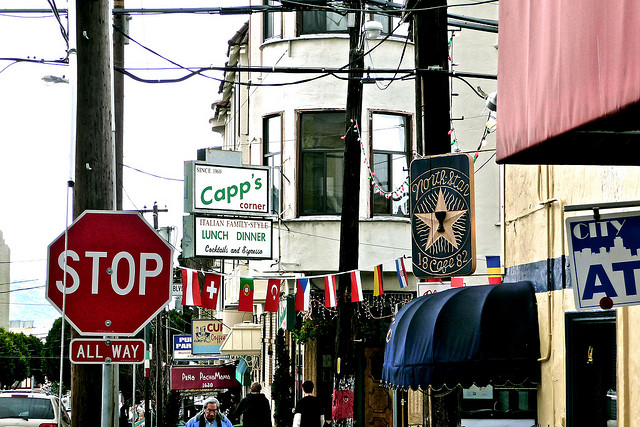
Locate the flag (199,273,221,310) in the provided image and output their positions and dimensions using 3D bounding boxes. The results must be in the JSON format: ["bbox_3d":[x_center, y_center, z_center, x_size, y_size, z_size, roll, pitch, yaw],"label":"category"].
[{"bbox_3d":[-2.212,1.679,33.471,0.350,0.771,0.094,12,38,3],"label":"flag"}]

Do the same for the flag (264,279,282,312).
[{"bbox_3d":[-0.974,1.810,33.844,0.346,0.698,0.431,-1,-9,-2],"label":"flag"}]

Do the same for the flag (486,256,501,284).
[{"bbox_3d":[3.342,1.216,31.081,0.362,0.612,0.440,-4,-7,12],"label":"flag"}]

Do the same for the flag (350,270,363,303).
[{"bbox_3d":[0.711,1.530,32.036,0.216,0.587,0.341,-1,-9,3],"label":"flag"}]

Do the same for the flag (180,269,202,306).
[{"bbox_3d":[-2.618,1.623,33.415,0.457,0.936,0.078,5,32,2],"label":"flag"}]

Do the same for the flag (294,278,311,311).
[{"bbox_3d":[-0.360,1.767,33.372,0.287,0.655,0.521,-1,-9,-2],"label":"flag"}]

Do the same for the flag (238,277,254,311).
[{"bbox_3d":[-1.509,1.889,33.913,0.410,0.942,0.031,1,2,40],"label":"flag"}]

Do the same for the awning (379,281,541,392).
[{"bbox_3d":[2.552,2.277,27.864,1.996,1.113,2.058,3,-13,-23],"label":"awning"}]
